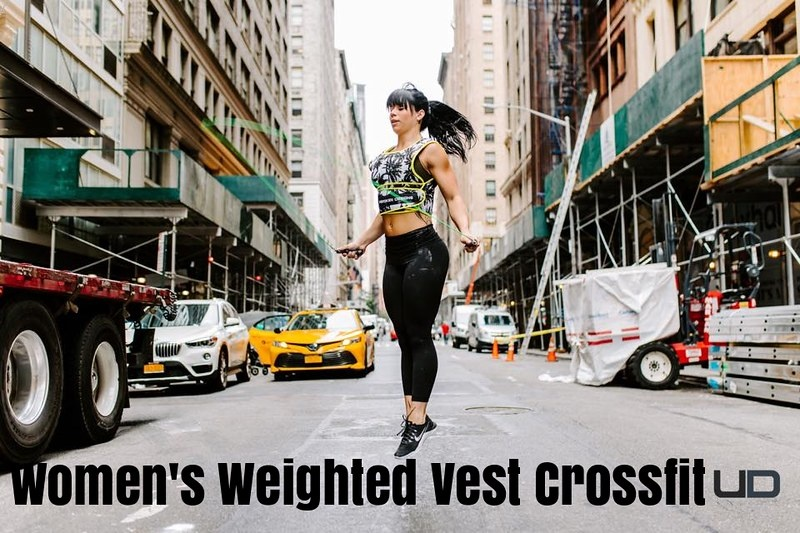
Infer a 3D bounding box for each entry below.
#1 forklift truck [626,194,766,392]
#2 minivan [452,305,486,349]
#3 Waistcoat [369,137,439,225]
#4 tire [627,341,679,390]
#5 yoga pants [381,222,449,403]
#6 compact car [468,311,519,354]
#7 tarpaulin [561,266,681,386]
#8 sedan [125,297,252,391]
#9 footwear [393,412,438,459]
[{"bbox_3d":[6.046,0.433,16.171,2.481,3.842,1.892,-3,-3,25],"label":"forklift truck"},{"bbox_3d":[3.585,2.864,41.105,1.423,1.862,3.139,1,7,23],"label":"minivan"},{"bbox_3d":[0.042,-0.919,8.291,0.742,0.857,0.316,-5,-7,24],"label":"Waistcoat"},{"bbox_3d":[4.912,1.921,15.474,0.704,0.838,0.279,5,-10,-3],"label":"tire"},{"bbox_3d":[0.172,0.491,8.239,0.695,1.811,0.367,-2,-6,6],"label":"yoga pants"},{"bbox_3d":[3.877,2.676,33.963,1.176,1.276,2.312,1,-12,-6],"label":"compact car"},{"bbox_3d":[4.685,1.064,16.608,1.982,2.678,2.146,-3,4,-16],"label":"tarpaulin"},{"bbox_3d":[-4.241,1.635,16.790,1.336,1.255,3.204,-1,-8,-1],"label":"sedan"},{"bbox_3d":[0.147,1.720,8.205,0.194,0.286,0.658,-24,9,36],"label":"footwear"}]
